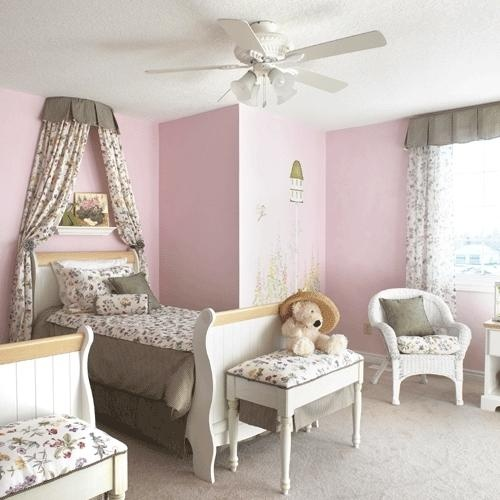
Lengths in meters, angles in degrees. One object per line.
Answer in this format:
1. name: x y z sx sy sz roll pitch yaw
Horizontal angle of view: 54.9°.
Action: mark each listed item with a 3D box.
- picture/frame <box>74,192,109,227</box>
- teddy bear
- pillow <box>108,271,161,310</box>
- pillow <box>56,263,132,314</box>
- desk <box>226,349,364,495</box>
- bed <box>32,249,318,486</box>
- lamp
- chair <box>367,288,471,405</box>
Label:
1. picture/frame: -1.434 -0.364 4.302 0.041 0.372 0.344 4 5 41
2. teddy bear: 0.372 0.463 2.917 0.351 0.271 0.383 4 8 -19
3. pillow: -0.943 0.335 3.959 0.101 0.299 0.336 -36 -17 30
4. pillow: -1.311 0.287 3.846 0.131 0.393 0.434 -25 -20 36
5. desk: 0.204 0.922 2.862 0.613 0.726 1.054 -3 -3 40
6. bed: -0.743 0.592 3.513 2.126 1.394 1.122 1 3 38
7. lamp: 0.071 -0.983 2.755 0.349 0.190 0.383 -2 2 7
8. chair: 1.371 0.766 4.003 0.740 0.841 0.784 1 -4 -9
